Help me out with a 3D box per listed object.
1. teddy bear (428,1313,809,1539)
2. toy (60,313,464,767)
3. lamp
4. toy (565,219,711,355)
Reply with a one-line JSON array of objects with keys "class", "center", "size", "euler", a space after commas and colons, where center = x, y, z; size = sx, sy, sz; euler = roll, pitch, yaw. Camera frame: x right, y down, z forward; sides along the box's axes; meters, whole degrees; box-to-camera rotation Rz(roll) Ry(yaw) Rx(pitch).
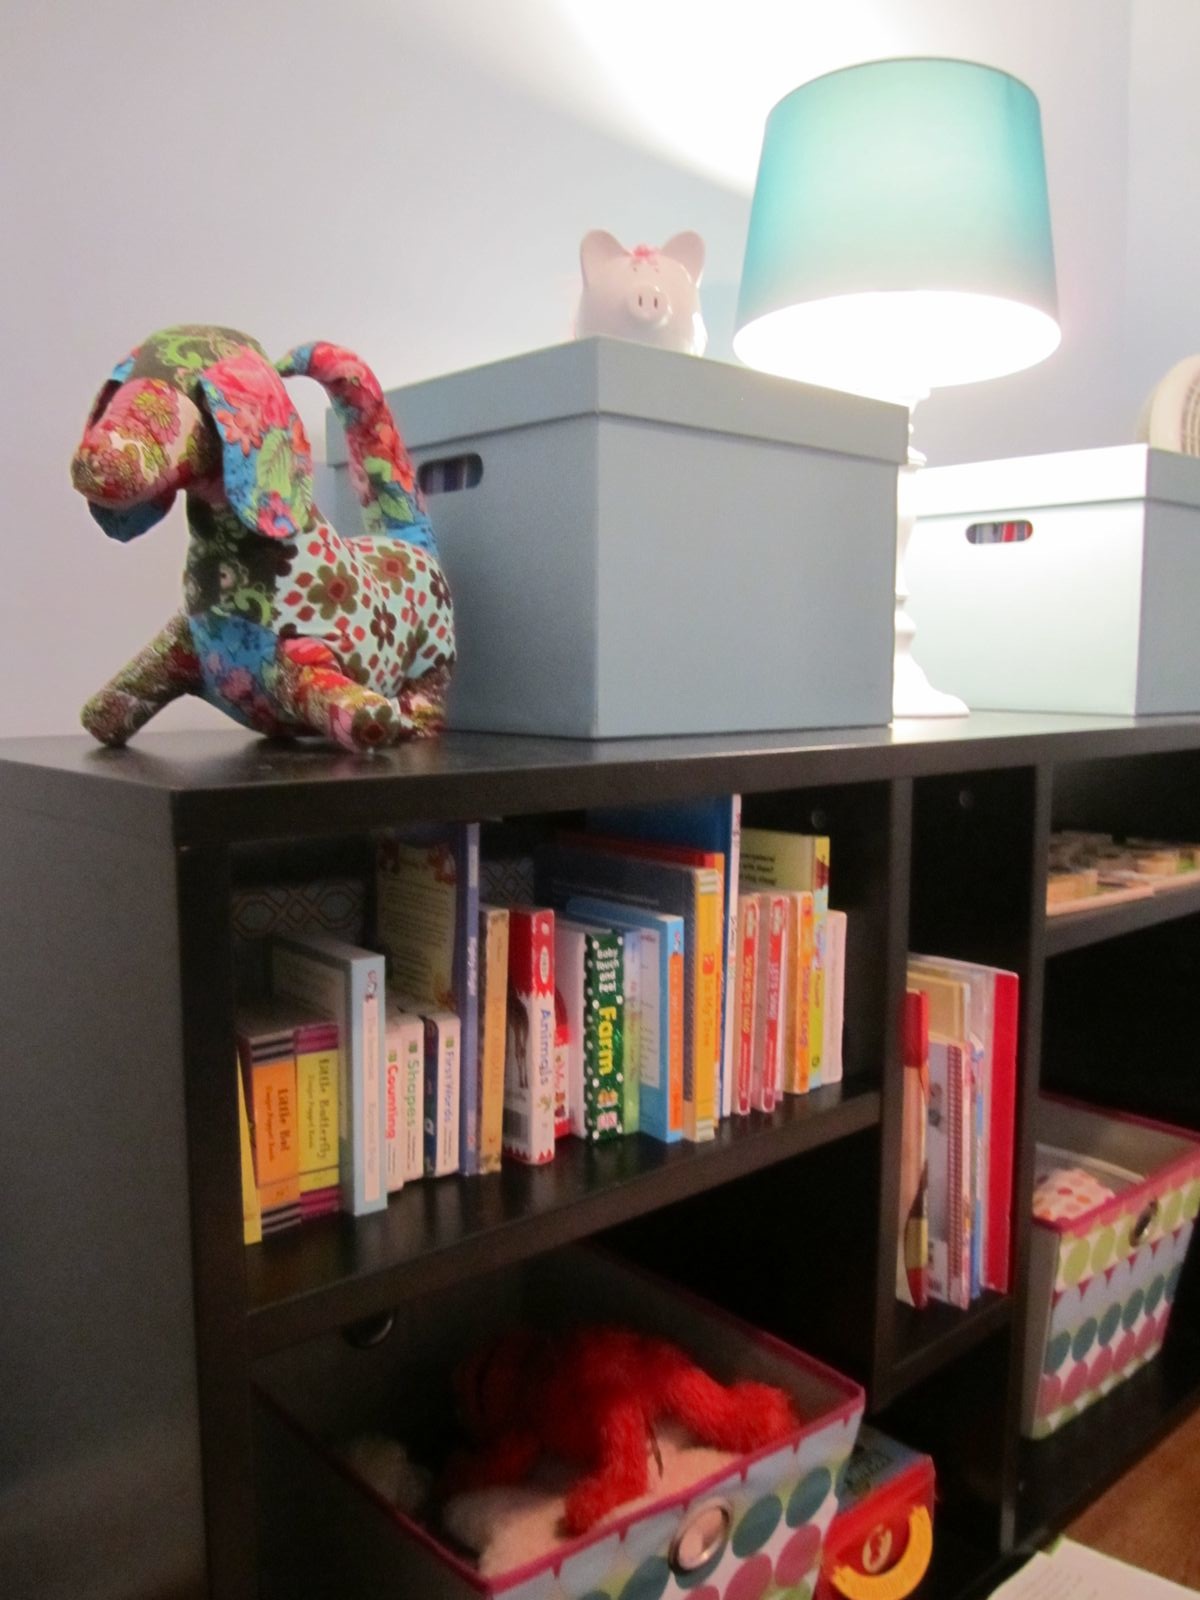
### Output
[{"class": "teddy bear", "center": [-0.014, 0.432, 1.002], "size": [0.151, 0.058, 0.152], "euler": [-16, 0, -41]}, {"class": "toy", "center": [-0.193, -0.153, 0.819], "size": [0.207, 0.264, 0.268], "euler": [7, 13, 28]}, {"class": "lamp", "center": [0.270, -0.520, 1.299], "size": [0.313, 0.253, 0.315], "euler": [-5, -10, 37]}, {"class": "toy", "center": [0.028, -0.385, 1.051], "size": [0.088, 0.097, 0.124], "euler": [-2, 4, -15]}]
